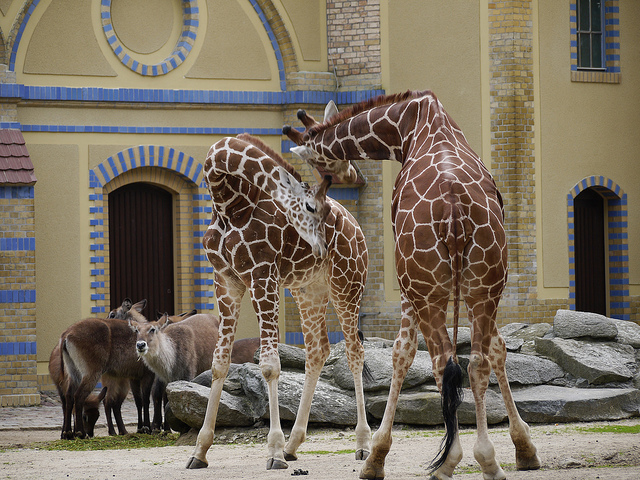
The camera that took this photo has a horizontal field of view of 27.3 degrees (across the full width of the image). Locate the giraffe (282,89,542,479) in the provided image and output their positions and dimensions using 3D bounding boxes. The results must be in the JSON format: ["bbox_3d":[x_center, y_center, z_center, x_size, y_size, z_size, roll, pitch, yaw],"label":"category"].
[{"bbox_3d":[1.346,0.582,17.529,2.371,5.248,1.131,-2,-5,10],"label":"giraffe"}]
